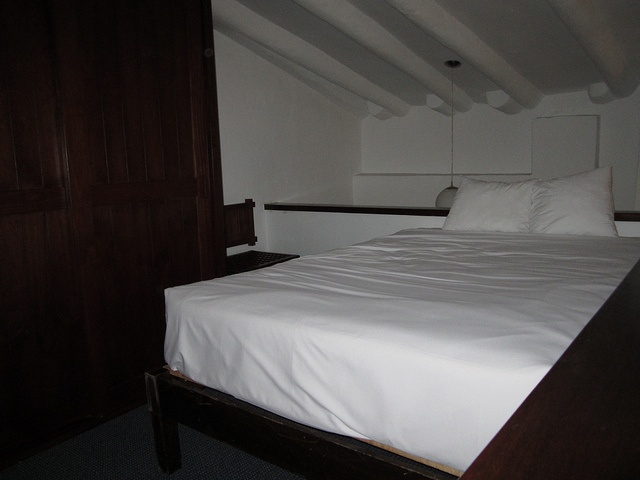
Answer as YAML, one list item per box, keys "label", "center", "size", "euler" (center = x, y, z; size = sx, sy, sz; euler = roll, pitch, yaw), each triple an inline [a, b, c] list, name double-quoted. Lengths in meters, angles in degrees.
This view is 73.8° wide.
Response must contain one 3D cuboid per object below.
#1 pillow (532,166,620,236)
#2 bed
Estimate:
- label: "pillow"
  center: [1.679, -0.264, 2.826]
  size: [0.498, 0.412, 0.378]
  euler: [5, 13, 30]
- label: "bed"
  center: [0.177, 0.341, 1.544]
  size: [1.102, 0.275, 1.205]
  euler: [-12, 7, 39]
